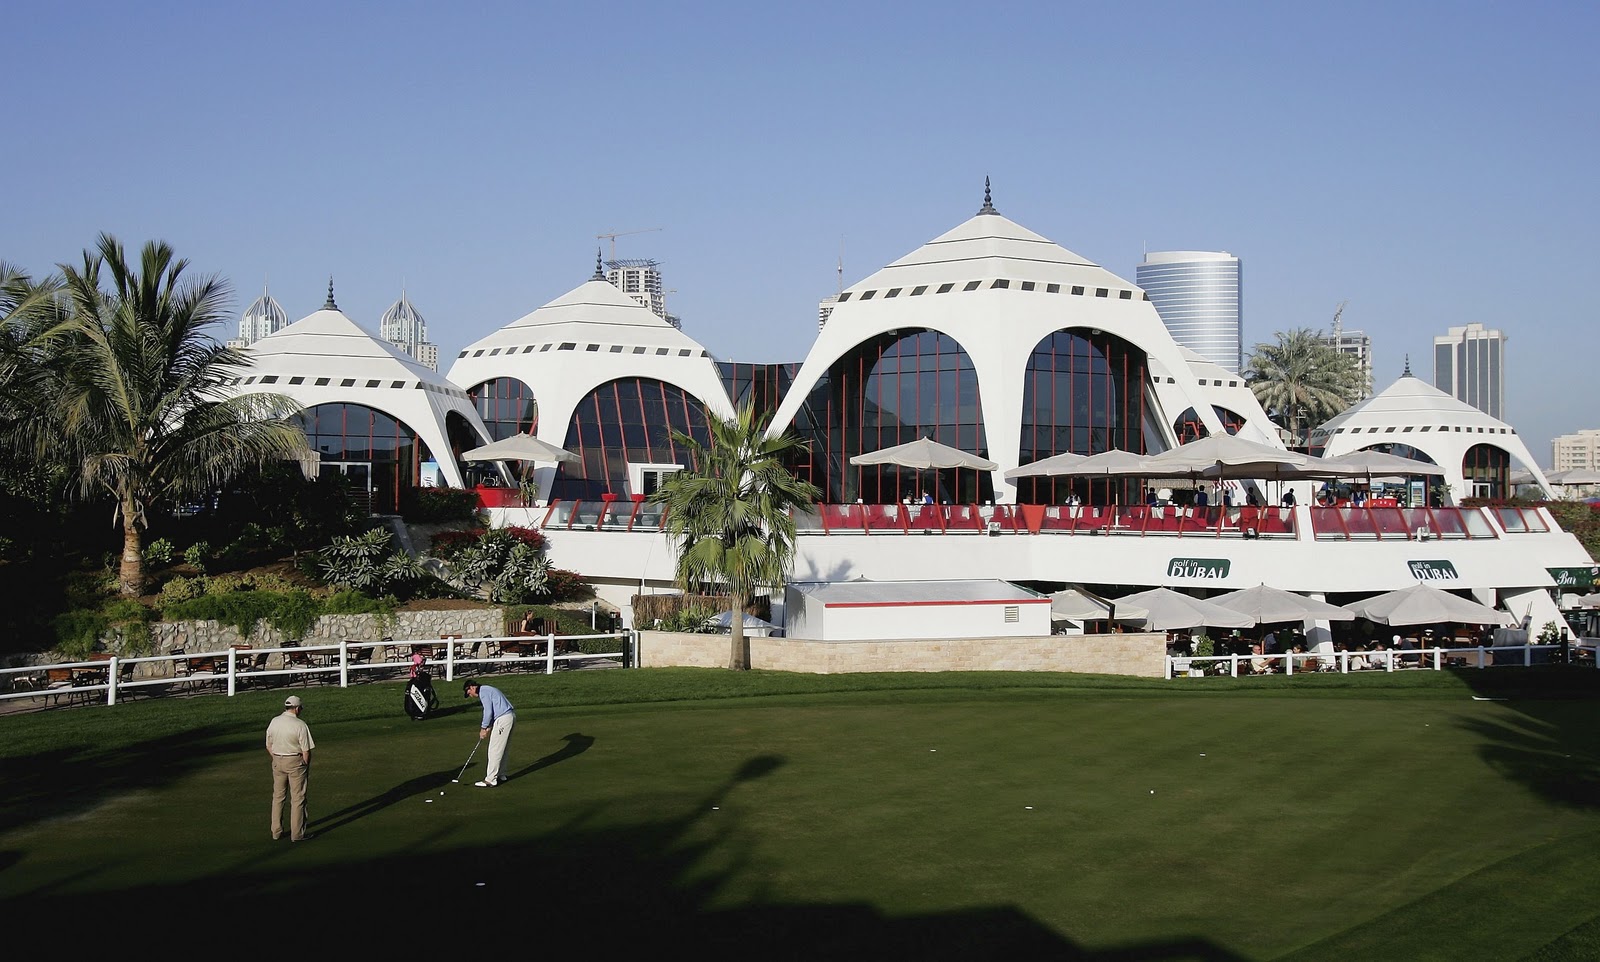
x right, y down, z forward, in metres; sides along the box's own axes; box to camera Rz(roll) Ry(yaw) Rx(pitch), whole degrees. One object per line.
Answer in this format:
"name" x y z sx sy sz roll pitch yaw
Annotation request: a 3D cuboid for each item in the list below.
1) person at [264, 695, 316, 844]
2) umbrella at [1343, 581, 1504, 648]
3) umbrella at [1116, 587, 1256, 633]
"person" -9.632 5.436 26.713 1.074 2.681 0.907 -1 -2 -22
"umbrella" 19.423 4.082 45.483 3.163 0.938 2.918 -1 -1 -21
"umbrella" 11.805 3.992 44.446 3.352 1.355 2.506 1 -9 -22
